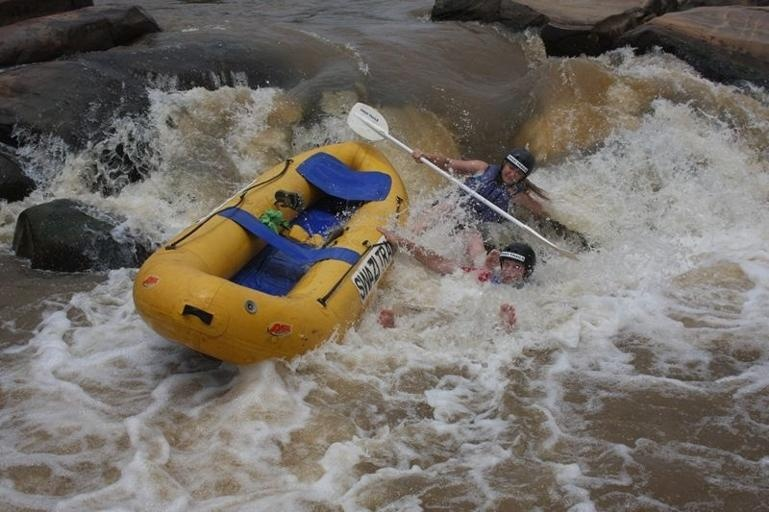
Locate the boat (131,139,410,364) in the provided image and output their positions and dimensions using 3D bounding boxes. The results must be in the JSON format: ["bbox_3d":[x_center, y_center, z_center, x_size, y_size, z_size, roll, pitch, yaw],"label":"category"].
[{"bbox_3d":[-1.268,0.240,11.350,2.123,0.906,4.010,28,46,17],"label":"boat"}]

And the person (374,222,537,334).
[{"bbox_3d":[1.098,0.068,11.180,2.091,0.751,1.160,31,16,-10],"label":"person"}]

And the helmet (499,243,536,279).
[{"bbox_3d":[1.807,0.040,11.236,0.411,0.403,0.522,26,4,26],"label":"helmet"}]

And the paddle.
[{"bbox_3d":[1.216,-1.066,12.556,4.301,0.598,0.435,34,17,14],"label":"paddle"}]
